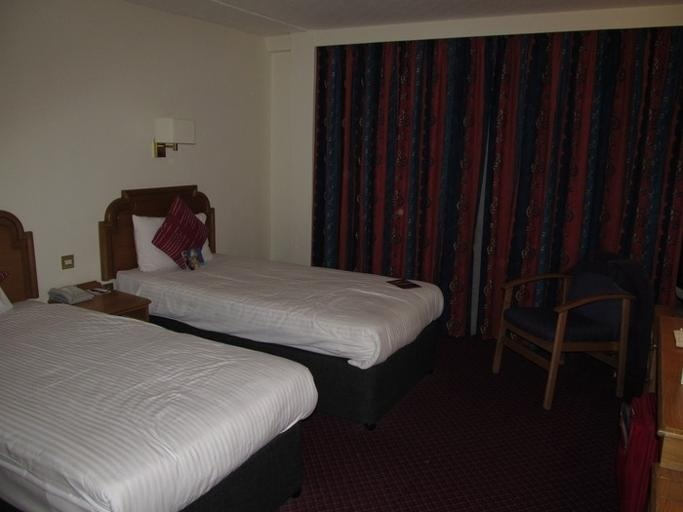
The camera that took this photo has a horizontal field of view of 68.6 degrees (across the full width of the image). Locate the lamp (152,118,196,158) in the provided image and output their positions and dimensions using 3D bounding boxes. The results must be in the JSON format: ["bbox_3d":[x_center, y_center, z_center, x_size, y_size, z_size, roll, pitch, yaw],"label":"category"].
[{"bbox_3d":[-1.724,-1.206,5.133,0.262,0.362,0.378,12,18,12],"label":"lamp"}]

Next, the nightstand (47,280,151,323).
[{"bbox_3d":[-2.005,0.394,4.367,0.389,0.366,0.576,14,18,25],"label":"nightstand"}]

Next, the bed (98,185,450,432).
[{"bbox_3d":[-0.680,0.178,5.105,3.156,2.183,1.788,5,12,29],"label":"bed"}]

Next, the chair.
[{"bbox_3d":[2.038,0.696,4.637,1.134,1.146,1.188,9,14,36],"label":"chair"}]
